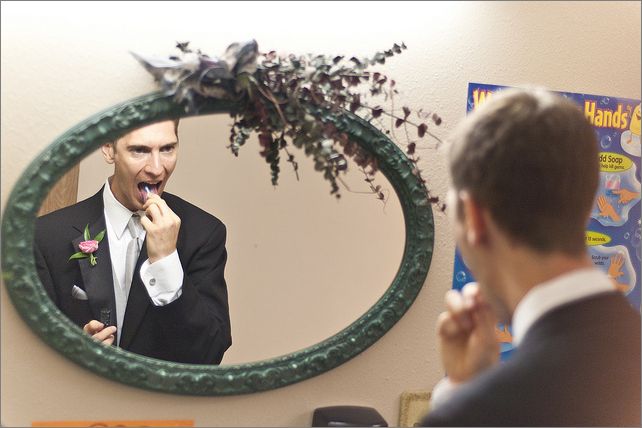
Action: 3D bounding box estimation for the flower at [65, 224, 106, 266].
[{"bbox_3d":[-0.765,0.118,2.097,0.134,0.053,0.101,3,38,30],"label":"flower"}]

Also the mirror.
[{"bbox_3d":[-0.409,0.088,2.125,0.926,0.043,0.755,-2,90,-7],"label":"mirror"}]
